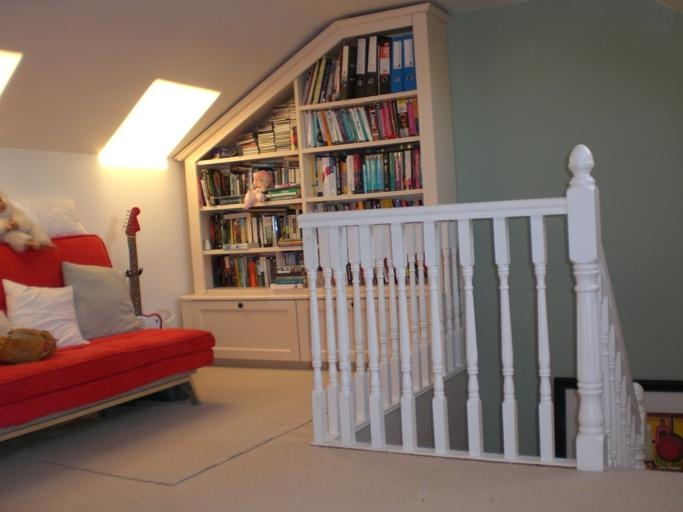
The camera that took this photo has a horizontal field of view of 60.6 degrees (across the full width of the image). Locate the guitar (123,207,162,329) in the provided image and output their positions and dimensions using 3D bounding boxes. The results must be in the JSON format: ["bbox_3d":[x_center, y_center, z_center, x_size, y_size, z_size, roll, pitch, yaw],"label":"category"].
[{"bbox_3d":[-1.606,0.140,4.502,0.390,0.980,0.063,-4,5,20],"label":"guitar"}]
